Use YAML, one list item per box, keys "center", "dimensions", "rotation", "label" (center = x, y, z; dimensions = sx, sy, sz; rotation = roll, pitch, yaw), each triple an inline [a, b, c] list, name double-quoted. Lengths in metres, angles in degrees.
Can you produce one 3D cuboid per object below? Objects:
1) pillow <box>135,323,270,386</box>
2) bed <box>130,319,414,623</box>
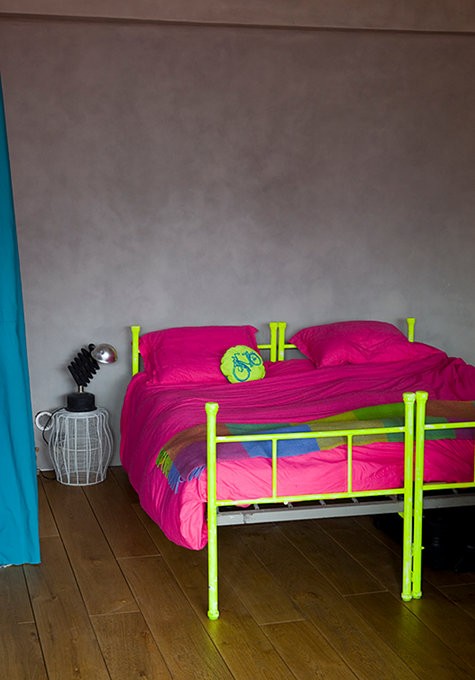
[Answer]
- center: [-0.255, 0.060, 3.424]
  dimensions: [0.455, 0.097, 0.431]
  rotation: [-1, 20, -14]
  label: "pillow"
- center: [0.031, 0.405, 2.597]
  dimensions: [0.909, 0.909, 1.525]
  rotation: [-1, 2, -9]
  label: "bed"
